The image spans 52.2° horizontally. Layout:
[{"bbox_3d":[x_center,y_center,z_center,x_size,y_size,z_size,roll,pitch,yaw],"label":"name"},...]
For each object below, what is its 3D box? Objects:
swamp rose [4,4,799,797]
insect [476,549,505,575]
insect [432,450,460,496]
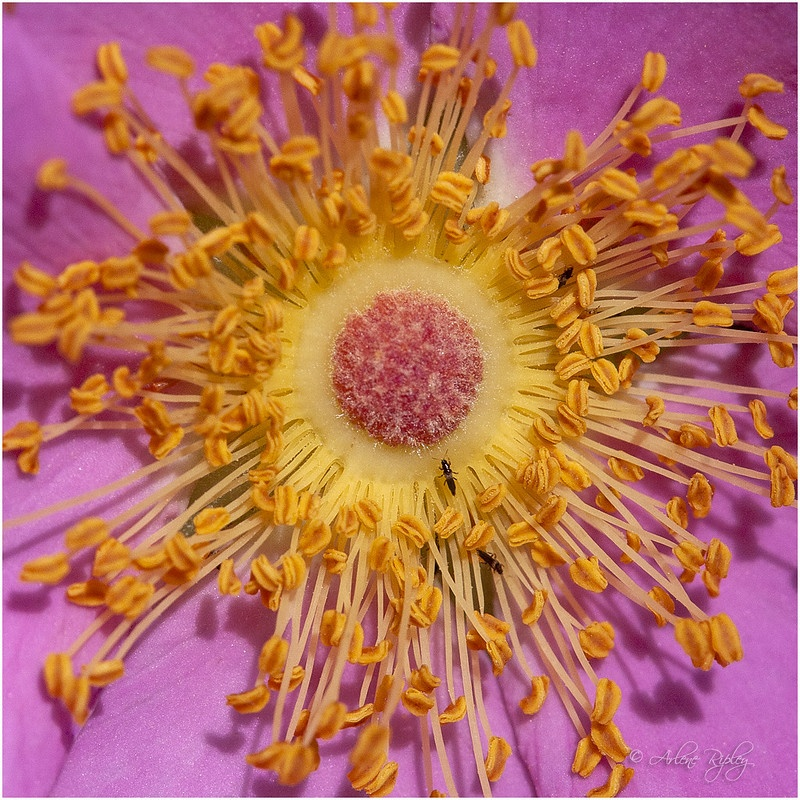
[{"bbox_3d":[0.023,-0.018,1.390,1.297,0.458,1.396,-10,-74,-11],"label":"swamp rose"},{"bbox_3d":[0.161,0.289,1.458,0.052,0.015,0.037,50,-138,-53],"label":"insect"},{"bbox_3d":[0.083,0.133,1.444,0.037,0.018,0.059,-12,-84,-12],"label":"insect"}]
